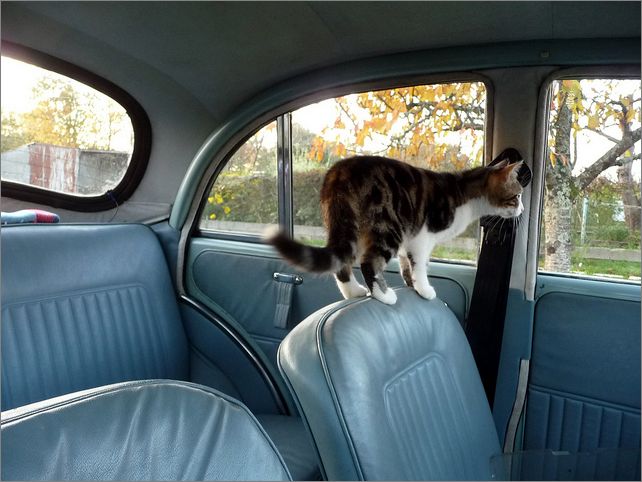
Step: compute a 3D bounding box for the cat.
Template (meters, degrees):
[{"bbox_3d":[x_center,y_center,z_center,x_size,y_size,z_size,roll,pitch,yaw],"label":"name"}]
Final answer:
[{"bbox_3d":[0.338,-0.048,1.999,0.935,0.628,0.270,1,0,-2],"label":"cat"}]
